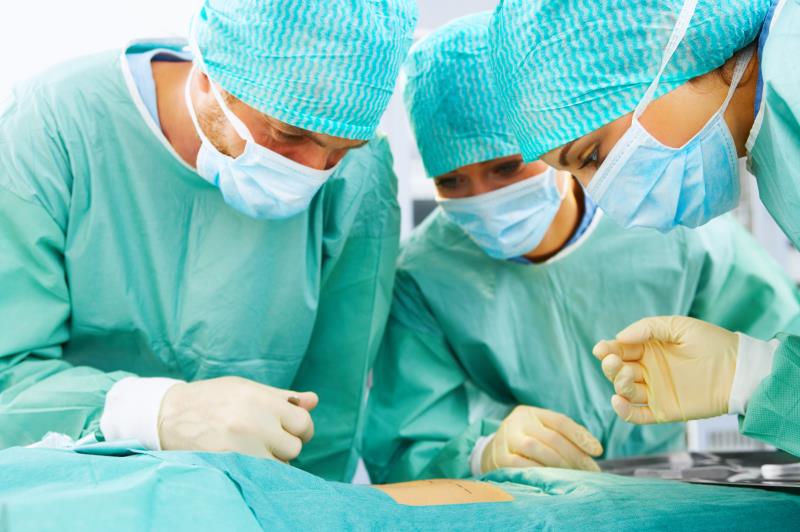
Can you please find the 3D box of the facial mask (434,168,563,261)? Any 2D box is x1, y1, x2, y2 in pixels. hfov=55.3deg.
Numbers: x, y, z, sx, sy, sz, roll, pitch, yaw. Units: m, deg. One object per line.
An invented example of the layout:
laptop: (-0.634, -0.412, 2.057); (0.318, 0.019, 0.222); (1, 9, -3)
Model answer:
facial mask: (0.343, -0.160, 2.438); (0.295, 0.184, 0.310); (-18, 28, 25)

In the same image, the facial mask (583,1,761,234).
facial mask: (0.656, -0.352, 1.976); (0.277, 0.502, 0.415); (13, 5, -10)
